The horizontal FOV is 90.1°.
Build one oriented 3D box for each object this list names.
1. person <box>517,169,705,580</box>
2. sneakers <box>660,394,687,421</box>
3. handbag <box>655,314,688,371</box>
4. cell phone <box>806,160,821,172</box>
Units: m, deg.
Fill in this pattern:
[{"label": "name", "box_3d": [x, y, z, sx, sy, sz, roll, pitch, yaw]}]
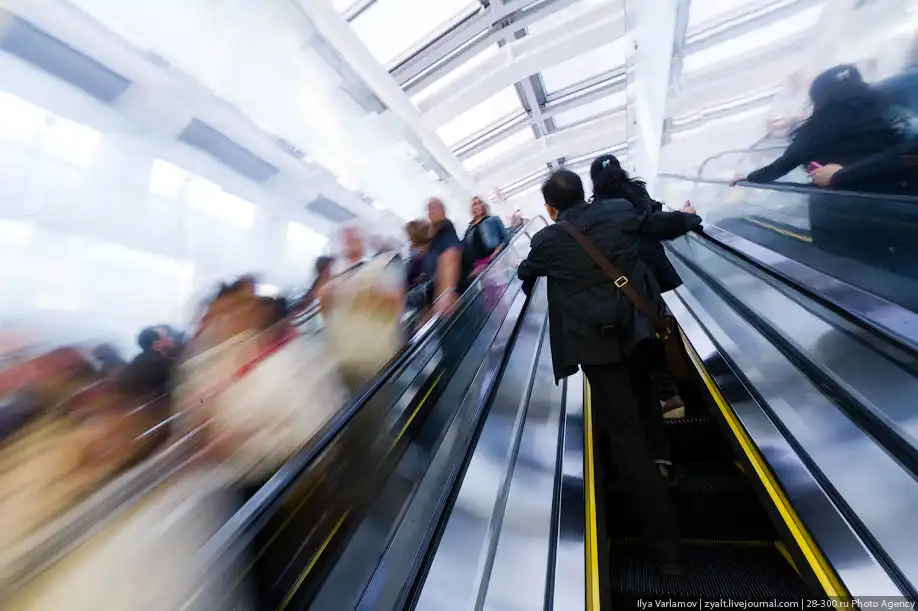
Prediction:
[{"label": "person", "box_3d": [0.956, 0.365, 2.805, 0.953, 2.369, 0.712, -9, 0, 8]}, {"label": "sneakers", "box_3d": [1.482, 0.717, 3.200, 0.204, 0.191, 0.201, -1, 7, 21]}, {"label": "handbag", "box_3d": [1.330, 0.251, 2.869, 0.084, 0.358, 0.214, -21, -11, 20]}, {"label": "cell phone", "box_3d": [2.286, -0.914, 2.991, 0.052, 0.055, 0.096, -40, 0, 7]}]
